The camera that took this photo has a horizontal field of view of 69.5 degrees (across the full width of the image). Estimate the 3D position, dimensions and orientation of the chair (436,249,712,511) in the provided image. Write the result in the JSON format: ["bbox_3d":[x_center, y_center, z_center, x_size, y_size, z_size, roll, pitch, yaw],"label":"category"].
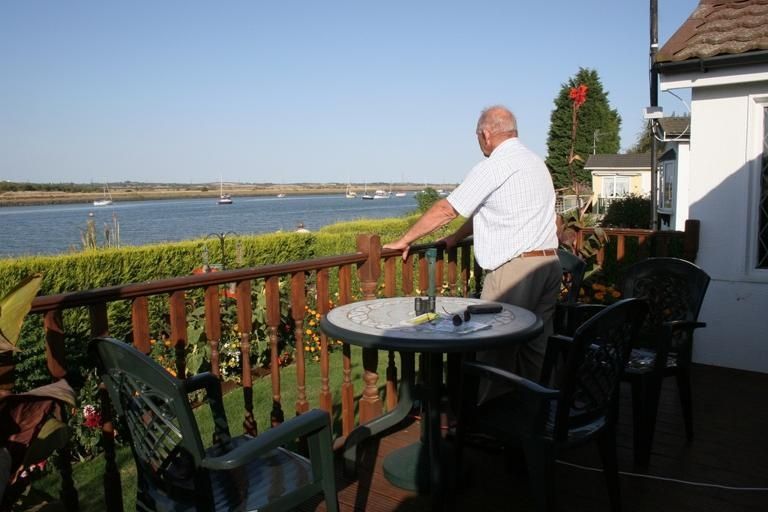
[{"bbox_3d":[1.311,0.896,3.837,0.597,0.995,1.462,7,13,44],"label":"chair"}]

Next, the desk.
[{"bbox_3d":[0.269,0.539,3.503,1.172,0.810,1.213,-2,5,-8],"label":"desk"}]

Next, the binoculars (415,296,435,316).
[{"bbox_3d":[0.272,0.322,3.668,0.136,0.151,0.088,0,5,0],"label":"binoculars"}]
